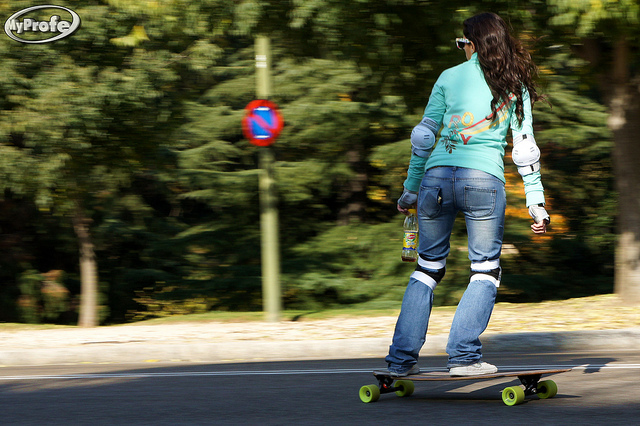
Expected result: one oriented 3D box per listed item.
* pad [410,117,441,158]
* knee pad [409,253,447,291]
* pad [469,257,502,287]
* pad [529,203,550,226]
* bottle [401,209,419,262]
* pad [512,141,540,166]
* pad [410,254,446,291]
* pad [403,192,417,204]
[{"bbox_3d":[1.104,-0.801,9.995,0.300,0.424,0.176,-2,-1,11],"label":"pad"},{"bbox_3d":[1.143,0.616,9.981,0.350,0.358,0.153,-1,-1,5],"label":"knee pad"},{"bbox_3d":[1.714,0.609,9.870,0.479,0.221,0.266,1,-7,6],"label":"pad"},{"bbox_3d":[2.233,0.004,9.681,0.156,0.267,0.140,-41,-3,25],"label":"pad"},{"bbox_3d":[0.972,0.239,10.158,0.177,0.561,0.385,-2,-1,4],"label":"bottle"},{"bbox_3d":[2.126,-0.614,9.775,0.266,0.253,0.135,-1,-1,9],"label":"pad"},{"bbox_3d":[1.178,0.625,9.924,0.520,0.282,0.309,18,-10,12],"label":"pad"},{"bbox_3d":[0.964,-0.163,10.132,0.148,0.127,0.051,-1,-1,2],"label":"pad"}]
